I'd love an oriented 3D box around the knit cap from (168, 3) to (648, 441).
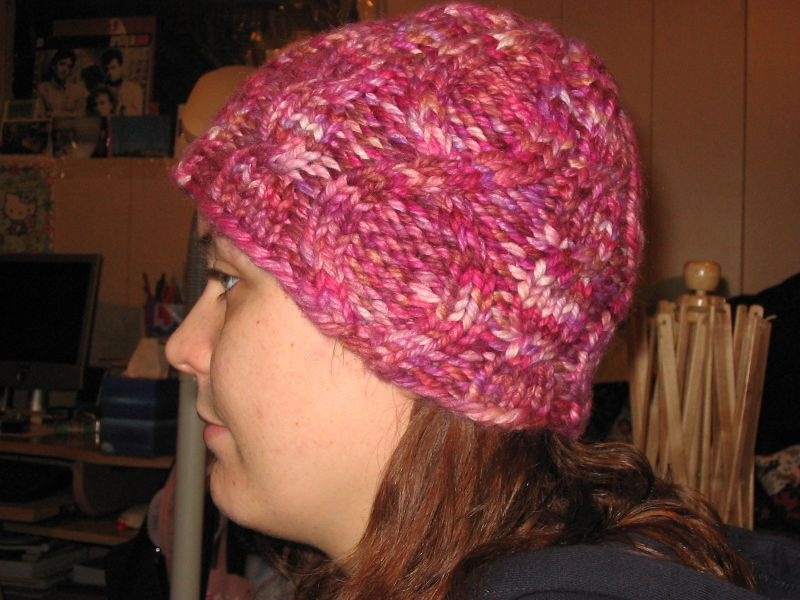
[{"bbox_3d":[0.059,-0.246,2.664,0.980,0.804,0.766,27,-3,12],"label":"knit cap"}]
